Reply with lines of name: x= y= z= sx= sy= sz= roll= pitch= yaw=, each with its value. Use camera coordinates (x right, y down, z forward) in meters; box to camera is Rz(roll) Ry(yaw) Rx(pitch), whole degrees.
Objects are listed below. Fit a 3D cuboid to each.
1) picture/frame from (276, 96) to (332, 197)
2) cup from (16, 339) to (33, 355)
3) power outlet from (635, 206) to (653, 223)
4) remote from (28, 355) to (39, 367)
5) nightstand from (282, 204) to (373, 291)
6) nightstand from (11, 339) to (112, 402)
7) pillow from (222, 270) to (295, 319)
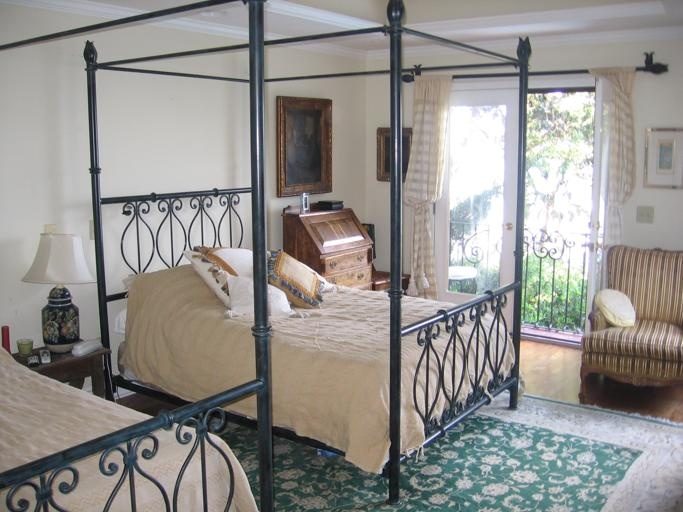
picture/frame: x=-0.425 y=-1.189 z=6.095 sx=0.081 sy=1.259 sz=1.018 roll=5 pitch=7 yaw=35
cup: x=-2.216 y=0.626 z=4.001 sx=0.099 sy=0.087 sz=0.095 roll=2 pitch=7 yaw=0
power outlet: x=2.930 y=-0.404 z=5.543 sx=0.150 sy=0.164 sz=0.144 roll=4 pitch=7 yaw=37
remote: x=-2.089 y=0.713 z=3.885 sx=0.058 sy=0.017 sz=0.064 roll=-2 pitch=37 yaw=-29
nightstand: x=-0.062 y=-0.245 z=6.377 sx=0.760 sy=1.382 sz=1.031 roll=2 pitch=8 yaw=35
nightstand: x=-1.995 y=0.738 z=4.117 sx=0.399 sy=0.529 sz=0.533 roll=7 pitch=12 yaw=35
pillow: x=-0.658 y=0.314 z=4.201 sx=0.341 sy=0.130 sz=0.401 roll=-2 pitch=17 yaw=-29
